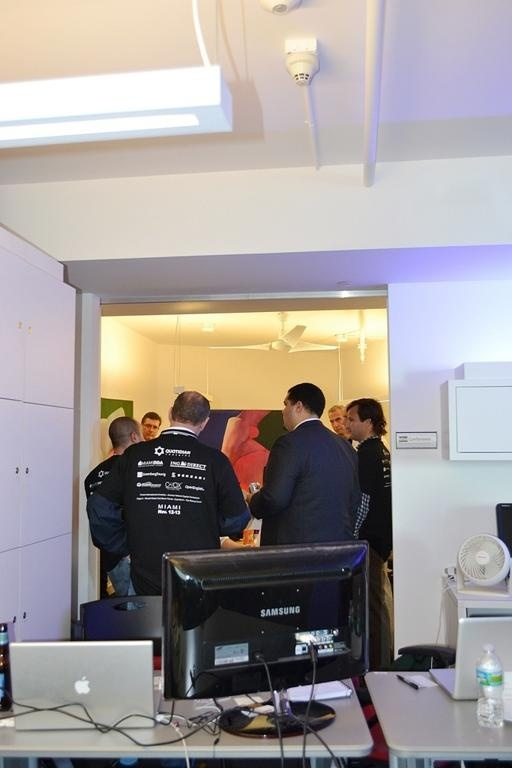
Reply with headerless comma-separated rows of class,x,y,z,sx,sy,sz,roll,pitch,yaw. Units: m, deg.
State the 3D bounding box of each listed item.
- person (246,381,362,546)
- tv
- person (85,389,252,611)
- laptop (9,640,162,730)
person,0.265,0.428,3.453,0.602,0.757,0.399,0,0,0
tv,0.046,0.585,1.636,0.522,0.393,0.094,-2,9,-15
person,-0.421,0.821,3.126,0.680,1.527,0.494,4,10,-6
laptop,-0.440,0.724,1.711,0.342,0.243,0.249,4,11,-11
